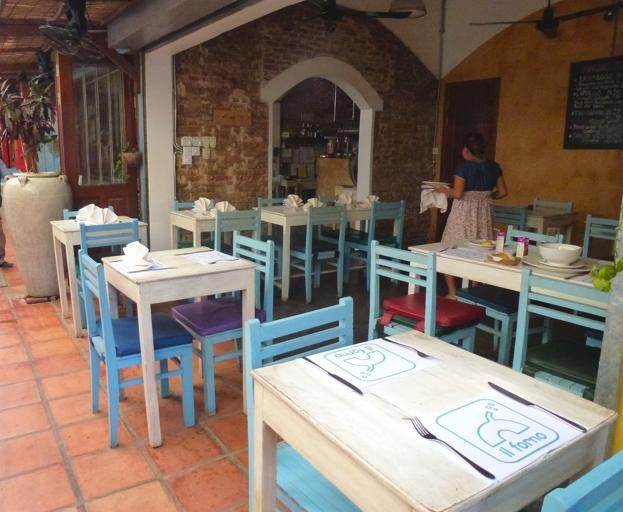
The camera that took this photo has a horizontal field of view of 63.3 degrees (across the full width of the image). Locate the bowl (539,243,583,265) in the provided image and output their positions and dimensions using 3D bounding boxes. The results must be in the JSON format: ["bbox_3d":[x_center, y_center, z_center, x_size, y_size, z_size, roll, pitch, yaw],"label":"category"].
[{"bbox_3d":[1.420,-0.020,2.859,0.179,0.085,0.176,0,11,0],"label":"bowl"}]
